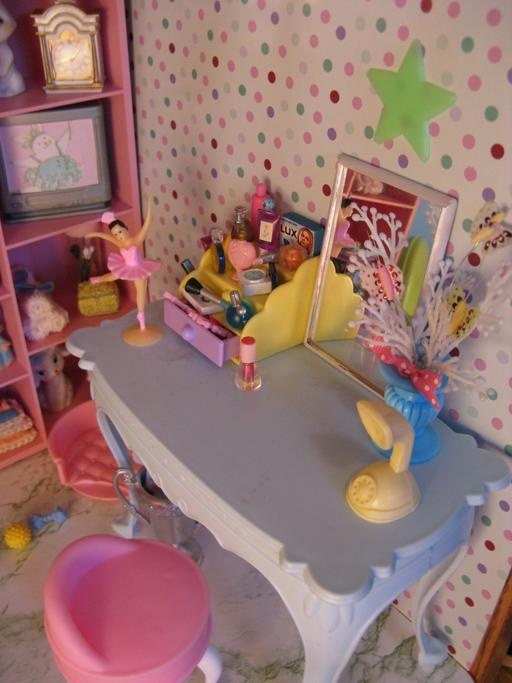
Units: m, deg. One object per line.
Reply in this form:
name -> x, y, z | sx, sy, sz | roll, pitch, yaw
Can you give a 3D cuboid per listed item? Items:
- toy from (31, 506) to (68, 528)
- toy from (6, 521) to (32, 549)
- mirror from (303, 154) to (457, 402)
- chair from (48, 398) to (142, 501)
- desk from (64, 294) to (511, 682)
toy -> -0.750, 0.632, 1.884 | 0.098, 0.036, 0.061 | -12, 29, -14
toy -> -0.815, 0.665, 1.831 | 0.091, 0.082, 0.087 | 0, 16, -9
mirror -> 0.279, -0.143, 1.142 | 0.031, 0.617, 0.371 | -9, 36, -33
chair -> -0.616, 0.459, 2.138 | 0.405, 0.281, 0.364 | -12, 67, -5
desk -> 0.091, 0.584, 1.664 | 0.747, 0.891, 1.330 | -26, 45, -29
